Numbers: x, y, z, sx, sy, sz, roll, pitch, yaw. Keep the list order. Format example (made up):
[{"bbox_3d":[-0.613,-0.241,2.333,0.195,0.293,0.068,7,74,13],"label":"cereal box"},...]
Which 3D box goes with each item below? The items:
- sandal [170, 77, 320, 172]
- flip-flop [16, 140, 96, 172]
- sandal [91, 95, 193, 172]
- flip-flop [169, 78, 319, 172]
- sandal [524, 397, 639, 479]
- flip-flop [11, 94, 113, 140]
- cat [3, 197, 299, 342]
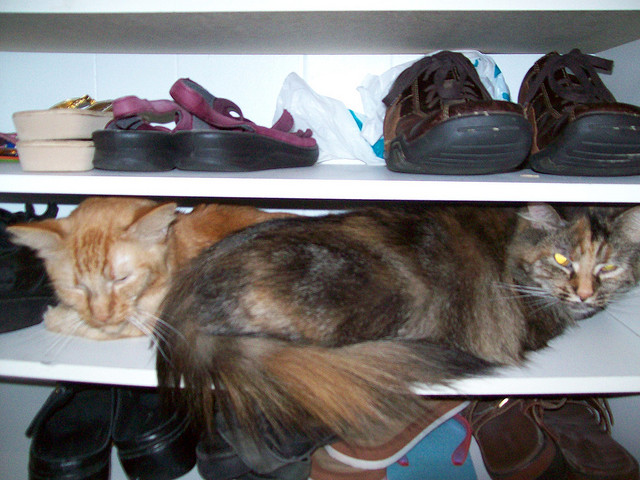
[{"bbox_3d":[-0.157,-0.245,1.301,0.343,0.202,0.177,-3,8,-26],"label":"sandal"},{"bbox_3d":[-0.562,-0.183,1.250,0.149,0.061,0.121,5,10,32],"label":"flip-flop"},{"bbox_3d":[-0.398,-0.251,1.305,0.175,0.127,0.320,5,21,-3],"label":"sandal"},{"bbox_3d":[-0.174,-0.259,1.301,0.340,0.198,0.234,-10,19,-27],"label":"flip-flop"},{"bbox_3d":[0.639,0.473,1.411,0.139,0.090,0.244,-9,28,-7],"label":"sandal"},{"bbox_3d":[-0.579,-0.268,1.332,0.148,0.082,0.237,1,10,5],"label":"flip-flop"},{"bbox_3d":[-0.356,0.051,1.262,0.518,0.213,0.266,-1,4,-1],"label":"cat"}]
